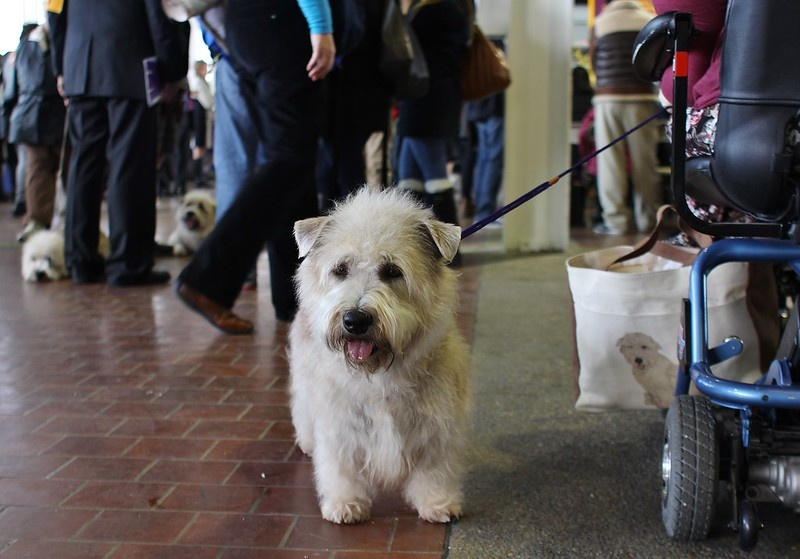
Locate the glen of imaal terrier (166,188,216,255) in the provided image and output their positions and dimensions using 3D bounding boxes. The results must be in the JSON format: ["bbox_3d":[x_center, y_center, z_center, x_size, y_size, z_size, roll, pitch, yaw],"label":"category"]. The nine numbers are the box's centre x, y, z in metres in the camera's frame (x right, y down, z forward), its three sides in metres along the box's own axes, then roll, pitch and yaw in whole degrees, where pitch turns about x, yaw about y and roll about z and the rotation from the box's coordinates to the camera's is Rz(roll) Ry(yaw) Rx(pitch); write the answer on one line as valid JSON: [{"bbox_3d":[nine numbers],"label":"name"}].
[{"bbox_3d":[-1.590,-0.434,6.482,0.423,0.549,0.679,4,3,-1],"label":"glen of imaal terrier"}]

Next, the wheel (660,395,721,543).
[{"bbox_3d":[1.099,0.724,3.047,0.132,0.488,0.419,0,-24,10],"label":"wheel"}]

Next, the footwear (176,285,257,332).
[{"bbox_3d":[-1.081,0.185,4.736,0.448,0.184,0.159,33,27,-26],"label":"footwear"}]

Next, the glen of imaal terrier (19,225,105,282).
[{"bbox_3d":[-2.544,-0.206,5.902,0.357,0.287,0.606,-2,3,-3],"label":"glen of imaal terrier"}]

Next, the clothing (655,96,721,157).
[{"bbox_3d":[1.271,-0.619,3.429,0.194,0.296,0.107,-3,8,-41],"label":"clothing"}]
